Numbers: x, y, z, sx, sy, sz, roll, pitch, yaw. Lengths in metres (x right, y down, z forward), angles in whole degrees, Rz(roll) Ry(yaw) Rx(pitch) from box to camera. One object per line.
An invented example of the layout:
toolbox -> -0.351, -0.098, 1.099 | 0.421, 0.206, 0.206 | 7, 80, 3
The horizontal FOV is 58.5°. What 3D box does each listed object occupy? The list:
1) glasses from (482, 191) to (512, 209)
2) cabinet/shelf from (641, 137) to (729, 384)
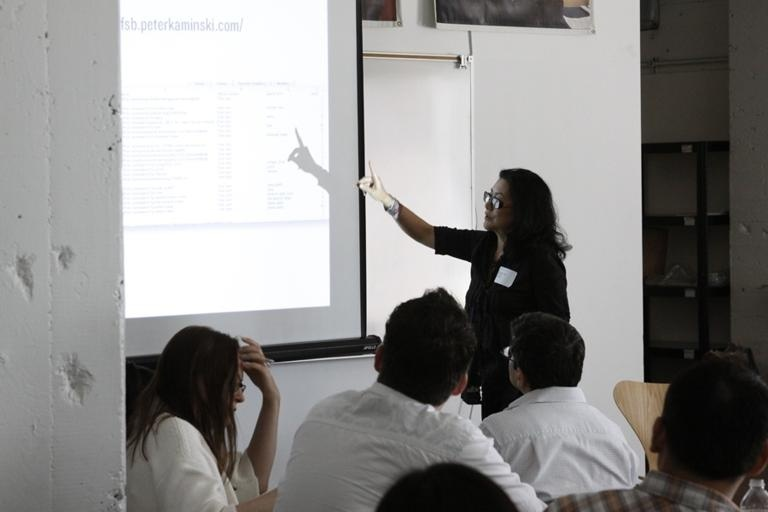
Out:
glasses -> 0.524, -0.243, 3.203 | 0.079, 0.025, 0.077 | 31, 5, -32
cabinet/shelf -> 2.345, -0.319, 5.201 | 0.520, 1.498, 0.291 | -2, 33, 25
